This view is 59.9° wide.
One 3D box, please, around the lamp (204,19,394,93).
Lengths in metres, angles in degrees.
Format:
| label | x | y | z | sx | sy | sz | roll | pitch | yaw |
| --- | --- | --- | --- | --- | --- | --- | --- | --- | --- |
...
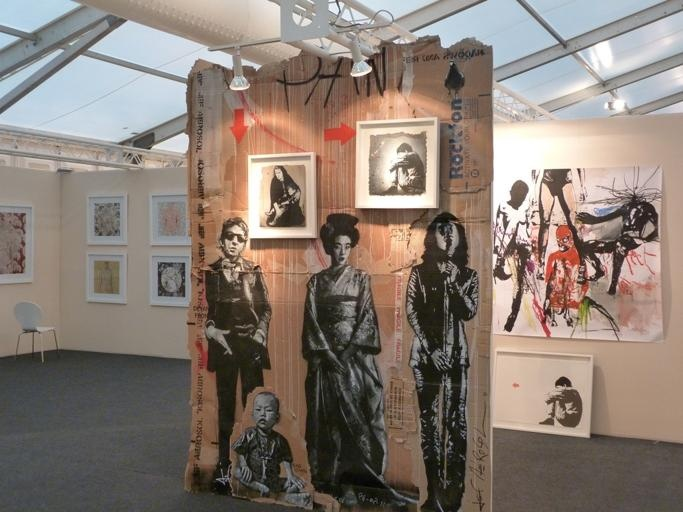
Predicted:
| label | x | y | z | sx | sy | sz | roll | pitch | yaw |
| --- | --- | --- | --- | --- | --- | --- | --- | --- | --- |
| lamp | -0.438 | -1.785 | 5.423 | 1.752 | 0.601 | 0.247 | -9 | -18 | -5 |

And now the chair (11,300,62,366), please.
| label | x | y | z | sx | sy | sz | roll | pitch | yaw |
| --- | --- | --- | --- | --- | --- | --- | --- | --- | --- |
| chair | -5.261 | 1.281 | 10.225 | 0.505 | 1.031 | 0.570 | 3 | 2 | 8 |

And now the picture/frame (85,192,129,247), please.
| label | x | y | z | sx | sy | sz | roll | pitch | yaw |
| --- | --- | --- | --- | --- | --- | --- | --- | --- | --- |
| picture/frame | -4.201 | -0.667 | 10.685 | 0.836 | 1.056 | 0.044 | 1 | 1 | 20 |

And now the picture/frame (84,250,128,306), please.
| label | x | y | z | sx | sy | sz | roll | pitch | yaw |
| --- | --- | --- | --- | --- | --- | --- | --- | --- | --- |
| picture/frame | -4.214 | 0.400 | 10.668 | 0.862 | 1.140 | 0.055 | 0 | -1 | 20 |

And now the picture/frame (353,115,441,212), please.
| label | x | y | z | sx | sy | sz | roll | pitch | yaw |
| --- | --- | --- | --- | --- | --- | --- | --- | --- | --- |
| picture/frame | 0.515 | -0.822 | 5.223 | 0.727 | 0.817 | 0.086 | 1 | 0 | 9 |

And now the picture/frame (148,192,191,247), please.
| label | x | y | z | sx | sy | sz | roll | pitch | yaw |
| --- | --- | --- | --- | --- | --- | --- | --- | --- | --- |
| picture/frame | -2.908 | -0.632 | 10.076 | 0.787 | 0.881 | 0.044 | -3 | 2 | 16 |

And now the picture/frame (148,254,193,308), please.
| label | x | y | z | sx | sy | sz | roll | pitch | yaw |
| --- | --- | --- | --- | --- | --- | --- | --- | --- | --- |
| picture/frame | -2.879 | 0.432 | 10.033 | 0.875 | 1.155 | 0.076 | 1 | -1 | 20 |

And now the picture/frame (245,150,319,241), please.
| label | x | y | z | sx | sy | sz | roll | pitch | yaw |
| --- | --- | --- | --- | --- | --- | --- | --- | --- | --- |
| picture/frame | -0.528 | -0.571 | 5.498 | 0.718 | 0.976 | 0.064 | 1 | 2 | 18 |
